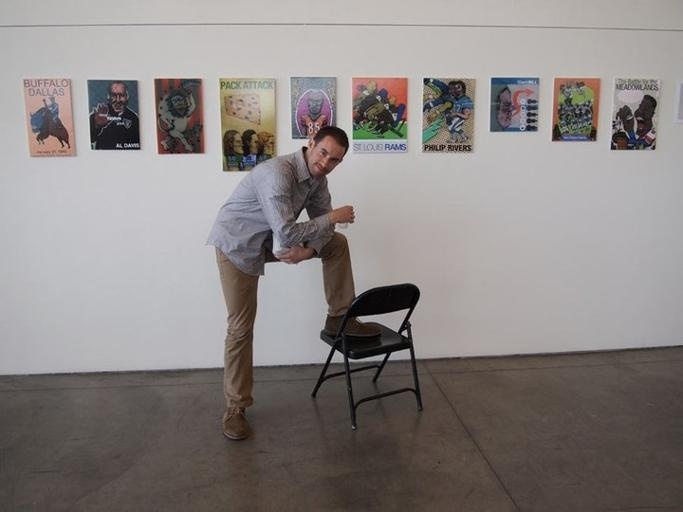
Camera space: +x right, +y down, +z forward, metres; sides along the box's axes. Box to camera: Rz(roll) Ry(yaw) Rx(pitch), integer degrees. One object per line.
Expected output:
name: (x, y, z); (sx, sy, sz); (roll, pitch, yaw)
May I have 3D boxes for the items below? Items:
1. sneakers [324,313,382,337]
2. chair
sneakers: (0.091, 0.596, 4.476); (0.485, 0.240, 0.200); (0, 10, -4)
chair: (0.210, 0.740, 4.510); (0.876, 1.157, 0.956); (3, 10, 16)
